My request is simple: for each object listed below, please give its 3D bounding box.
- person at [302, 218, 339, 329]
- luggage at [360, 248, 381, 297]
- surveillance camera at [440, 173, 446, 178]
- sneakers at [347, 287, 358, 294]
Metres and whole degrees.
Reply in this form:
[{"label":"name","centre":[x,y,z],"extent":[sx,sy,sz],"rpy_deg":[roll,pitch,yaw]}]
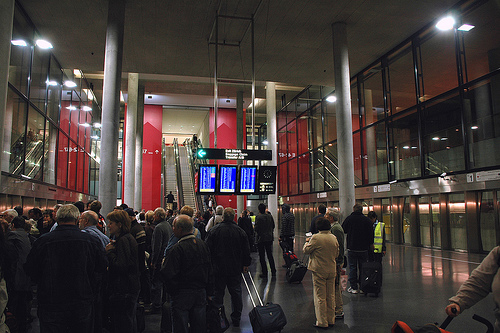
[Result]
[{"label":"person","centre":[1.621,2.446,9.539],"extent":[0.707,2.467,0.435],"rpy_deg":[5,-11,-26]},{"label":"luggage","centre":[3.266,2.966,11.316],"extent":[0.551,1.016,0.570],"rpy_deg":[1,-1,1]},{"label":"surveillance camera","centre":[7.703,0.379,16.688],"extent":[0.132,0.193,0.276],"rpy_deg":[2,-10,-12]},{"label":"sneakers","centre":[2.829,3.463,11.531],"extent":[0.124,0.122,0.288],"rpy_deg":[3,-1,-37]}]
